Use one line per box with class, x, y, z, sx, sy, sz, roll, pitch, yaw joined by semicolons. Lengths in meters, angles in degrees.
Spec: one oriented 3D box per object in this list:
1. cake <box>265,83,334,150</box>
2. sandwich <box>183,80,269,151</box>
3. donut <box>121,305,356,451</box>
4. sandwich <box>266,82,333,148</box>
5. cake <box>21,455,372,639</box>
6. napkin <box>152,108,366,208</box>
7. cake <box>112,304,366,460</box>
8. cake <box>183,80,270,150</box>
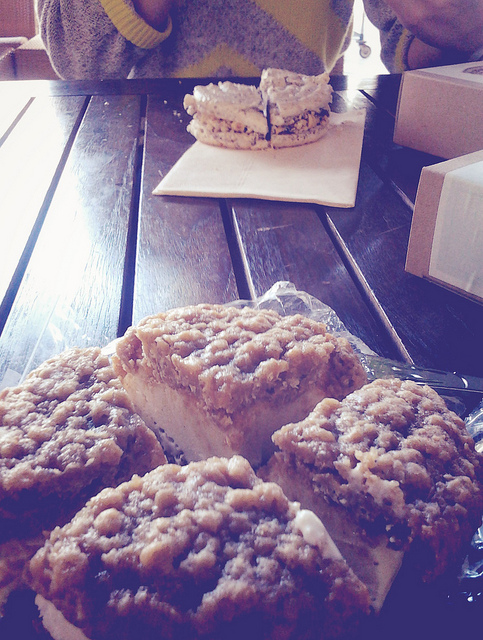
cake;0.115;-0.399;1.051;0.114;0.056;0.156;3;48;2
sandwich;-0.026;-0.385;1.048;0.134;0.057;0.179;8;41;-2
donut;-0.001;0.020;0.341;0.133;0.046;0.097;-7;29;-14
sandwich;0.109;-0.390;1.050;0.125;0.052;0.145;-11;47;-9
cake;-0.023;0.113;0.244;0.161;0.055;0.082;-4;24;-15
napkin;0.060;-0.316;0.952;0.316;0.119;0.468;7;24;10
cake;-0.049;0.035;0.372;0.145;0.051;0.160;-18;20;-22
cake;-0.017;-0.414;1.008;0.200;0.154;0.065;8;64;7
